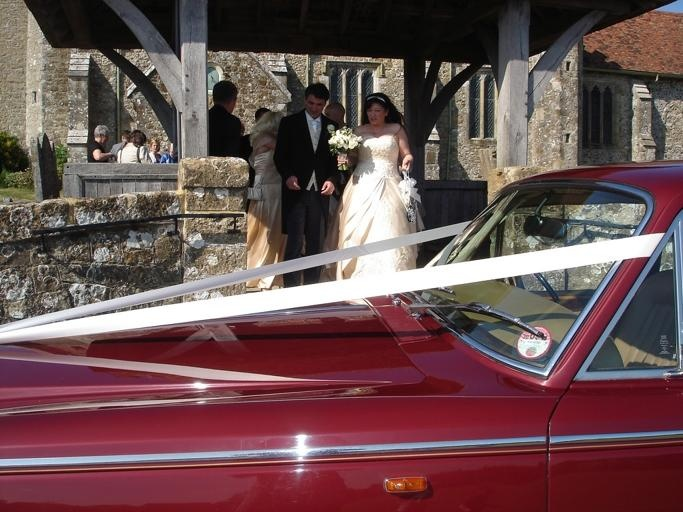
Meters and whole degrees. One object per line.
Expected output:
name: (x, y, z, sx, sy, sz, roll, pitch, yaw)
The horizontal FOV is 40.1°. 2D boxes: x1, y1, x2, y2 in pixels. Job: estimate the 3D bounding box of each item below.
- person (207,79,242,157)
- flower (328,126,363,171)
person: (-1.166, -1.345, 9.101, 0.280, 0.721, 0.539, 1, 9, 0)
flower: (-0.015, -0.995, 8.696, 0.399, 0.376, 0.385, 1, -4, -14)
